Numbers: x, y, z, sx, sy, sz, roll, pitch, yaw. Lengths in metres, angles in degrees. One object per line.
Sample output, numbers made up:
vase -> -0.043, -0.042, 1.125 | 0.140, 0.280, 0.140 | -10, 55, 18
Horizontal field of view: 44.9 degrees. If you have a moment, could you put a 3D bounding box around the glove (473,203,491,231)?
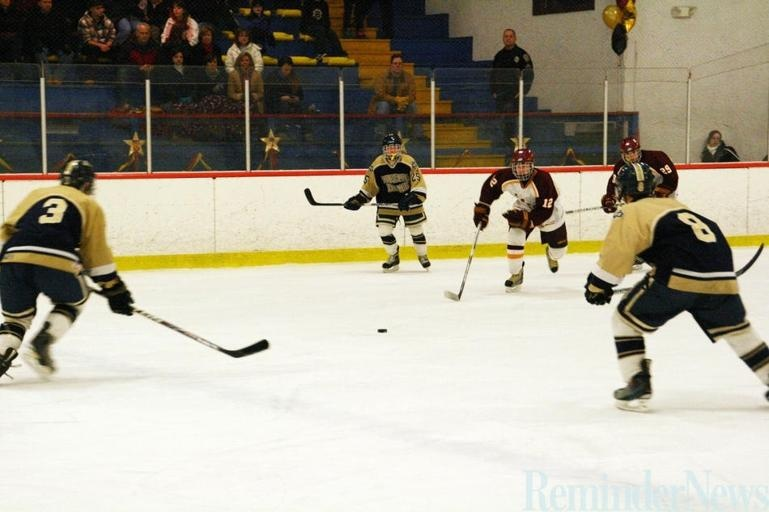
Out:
glove -> 0.893, -0.361, 8.466 | 0.157, 0.228, 0.102 | 6, 1, 34

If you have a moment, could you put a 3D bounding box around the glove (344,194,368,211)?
glove -> -0.268, -0.536, 9.214 | 0.230, 0.082, 0.132 | -28, 14, -7

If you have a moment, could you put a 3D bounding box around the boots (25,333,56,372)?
boots -> -2.028, 0.576, 5.642 | 0.166, 0.228, 0.251 | -10, 2, -2

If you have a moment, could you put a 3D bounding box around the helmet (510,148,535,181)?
helmet -> 1.215, -0.803, 8.164 | 0.200, 0.289, 0.199 | 2, 15, 8

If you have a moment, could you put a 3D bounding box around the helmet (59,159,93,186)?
helmet -> -1.898, -0.524, 5.811 | 0.209, 0.166, 0.149 | -8, 14, -23

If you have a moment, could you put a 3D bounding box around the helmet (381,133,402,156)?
helmet -> 0.103, -1.093, 9.073 | 0.187, 0.188, 0.221 | 1, 26, 8

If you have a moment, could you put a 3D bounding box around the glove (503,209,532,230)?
glove -> 1.189, -0.331, 8.280 | 0.176, 0.087, 0.227 | 0, 9, -12

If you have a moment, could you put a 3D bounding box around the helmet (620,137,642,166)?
helmet -> 2.197, -0.938, 8.273 | 0.161, 0.228, 0.428 | 4, 14, 17

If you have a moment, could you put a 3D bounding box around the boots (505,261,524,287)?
boots -> 1.133, 0.168, 8.117 | 0.141, 0.196, 0.203 | 4, 15, 17

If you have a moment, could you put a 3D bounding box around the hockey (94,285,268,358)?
hockey -> -1.472, 0.483, 6.723 | 1.225, 0.212, 0.097 | 15, 37, 5

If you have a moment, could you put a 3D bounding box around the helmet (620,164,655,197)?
helmet -> 1.435, -0.436, 5.264 | 0.190, 0.165, 0.202 | -1, 24, 1

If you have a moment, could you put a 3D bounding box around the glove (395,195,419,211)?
glove -> 0.262, -0.542, 9.075 | 0.248, 0.172, 0.162 | -3, 15, -10

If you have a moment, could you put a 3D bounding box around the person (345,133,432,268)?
person -> 0.063, -0.536, 9.197 | 0.780, 1.339, 0.411 | 0, 15, 1
